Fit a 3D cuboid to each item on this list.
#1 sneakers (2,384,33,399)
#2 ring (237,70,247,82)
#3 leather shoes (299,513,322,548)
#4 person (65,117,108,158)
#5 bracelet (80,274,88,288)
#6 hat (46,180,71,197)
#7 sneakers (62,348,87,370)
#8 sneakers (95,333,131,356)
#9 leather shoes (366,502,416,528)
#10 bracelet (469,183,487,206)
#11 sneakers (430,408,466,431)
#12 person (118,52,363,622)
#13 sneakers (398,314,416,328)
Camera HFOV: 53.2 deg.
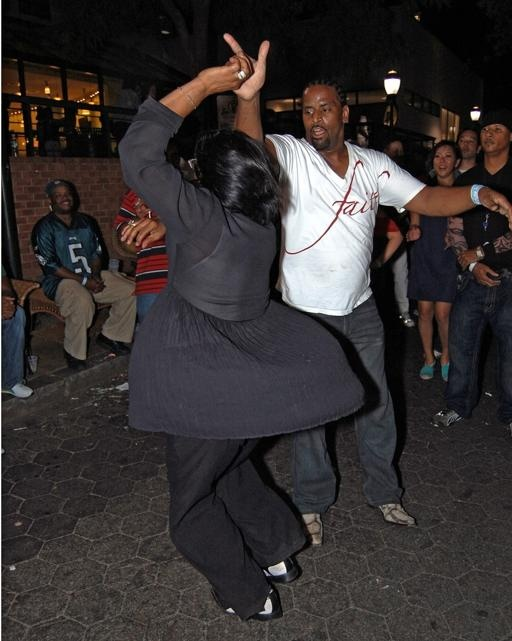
[{"bbox_3d":[-2.128,0.642,4.640,0.280,0.101,0.104,2,12,5],"label":"sneakers"},{"bbox_3d":[-0.044,-0.835,1.749,0.008,0.028,0.030,11,41,21],"label":"ring"},{"bbox_3d":[0.306,1.146,2.841,0.075,0.213,0.095,-9,-25,5],"label":"leather shoes"},{"bbox_3d":[-4.413,-4.763,13.500,1.169,0.865,0.851,-4,13,-14],"label":"person"},{"bbox_3d":[-1.928,-0.442,5.772,0.044,0.103,0.088,6,4,33],"label":"bracelet"},{"bbox_3d":[-2.259,-1.518,5.903,0.275,0.196,0.312,-8,14,-31],"label":"hat"},{"bbox_3d":[-1.914,0.415,5.359,0.344,0.134,0.120,13,19,42],"label":"sneakers"},{"bbox_3d":[-1.612,0.299,5.865,0.490,0.191,0.184,17,22,13],"label":"sneakers"},{"bbox_3d":[0.823,1.127,2.993,0.105,0.062,0.171,0,0,-26],"label":"leather shoes"},{"bbox_3d":[1.094,-0.630,2.547,0.037,0.088,0.084,4,3,21],"label":"bracelet"},{"bbox_3d":[1.618,0.838,4.363,0.212,0.061,0.140,-15,23,-43],"label":"sneakers"},{"bbox_3d":[-0.075,0.230,1.886,0.755,2.287,0.590,-10,16,-35],"label":"person"},{"bbox_3d":[2.200,0.018,7.464,0.098,0.150,0.212,-44,-1,4],"label":"sneakers"}]
